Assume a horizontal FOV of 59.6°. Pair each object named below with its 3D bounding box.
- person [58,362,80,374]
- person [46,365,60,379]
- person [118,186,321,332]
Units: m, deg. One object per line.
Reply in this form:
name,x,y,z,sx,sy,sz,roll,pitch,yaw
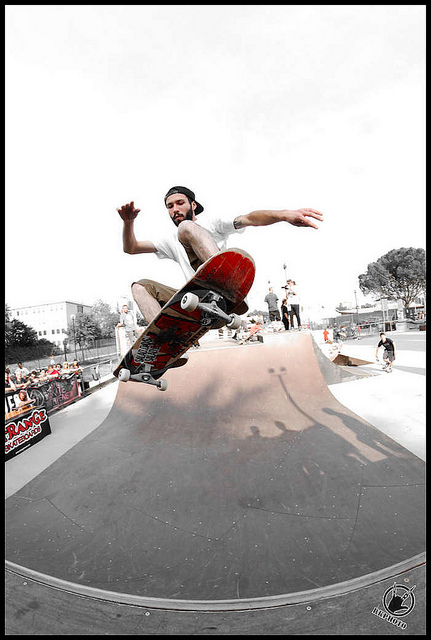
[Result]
person,-4.341,1.389,11.218,0.278,0.365,0.917,-1,-8,-19
person,-4.538,1.418,10.572,0.338,0.202,1.409,-20,6,-30
person,0.011,-0.441,3.898,1.554,1.011,1.854,-24,25,5
